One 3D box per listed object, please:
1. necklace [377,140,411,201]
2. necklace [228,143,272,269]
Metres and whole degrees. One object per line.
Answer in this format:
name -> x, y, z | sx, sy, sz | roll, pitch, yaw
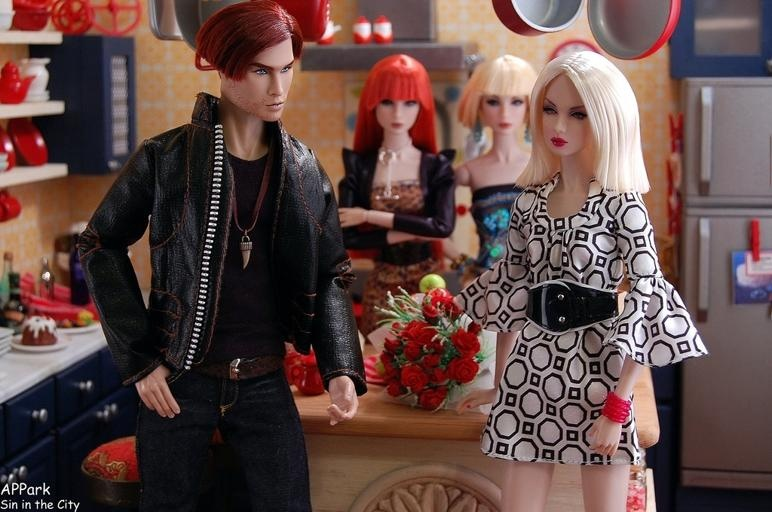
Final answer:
necklace -> 0.028, -0.363, 3.087 | 0.115, 0.228, 0.038 | 2, 3, 0
necklace -> -0.415, -0.146, 2.134 | 0.107, 0.365, 0.041 | 1, -20, -9
